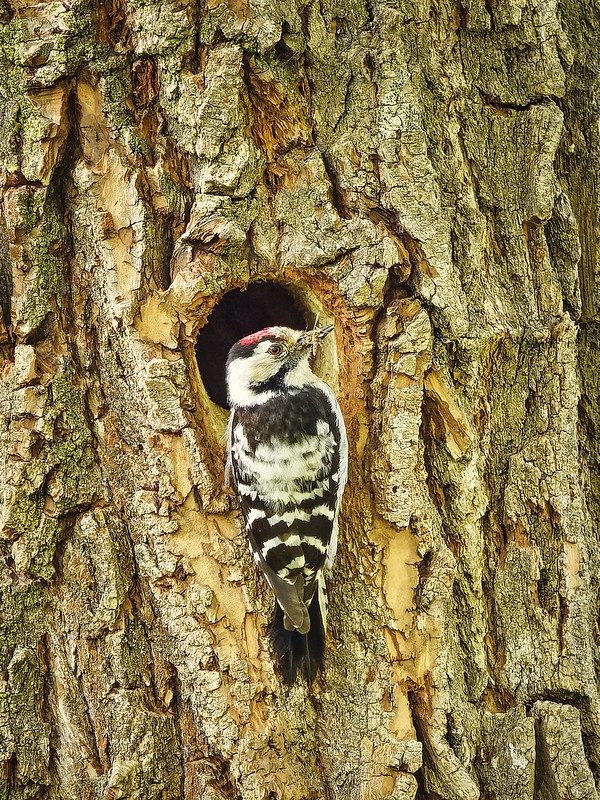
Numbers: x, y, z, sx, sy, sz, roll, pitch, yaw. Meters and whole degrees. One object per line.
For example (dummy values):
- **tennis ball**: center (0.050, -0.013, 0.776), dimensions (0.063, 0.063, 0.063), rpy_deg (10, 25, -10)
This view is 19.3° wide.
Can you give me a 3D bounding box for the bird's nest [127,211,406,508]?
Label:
- **bird's nest**: center (-0.168, -0.008, 7.626), dimensions (0.953, 1.285, 2.498), rpy_deg (-3, -13, -3)
